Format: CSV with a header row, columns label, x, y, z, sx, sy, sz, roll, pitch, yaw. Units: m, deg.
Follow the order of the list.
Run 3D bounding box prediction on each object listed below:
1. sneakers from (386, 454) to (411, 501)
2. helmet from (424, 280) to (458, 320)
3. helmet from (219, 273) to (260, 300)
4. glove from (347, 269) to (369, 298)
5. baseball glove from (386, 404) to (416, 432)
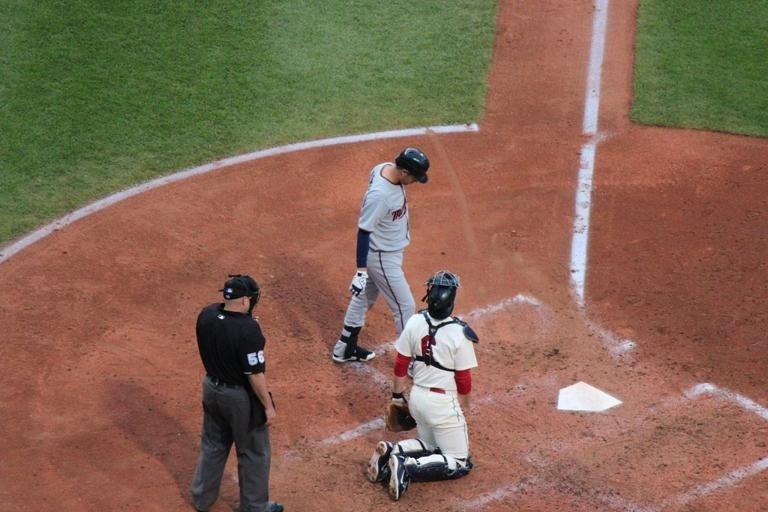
label,x,y,z,sx,sy,sz,roll,pitch,yaw
sneakers,0.150,2.989,12.896,0.269,0.588,0.310,-5,-7,35
helmet,0.771,0.571,12.952,0.447,0.514,0.562,3,22,8
helmet,-1.866,0.409,12.578,0.343,0.258,0.442,9,12,26
glove,-0.373,0.377,14.301,0.287,0.360,0.126,6,15,-10
baseball glove,0.232,2.223,13.415,0.485,0.417,0.293,6,23,13
